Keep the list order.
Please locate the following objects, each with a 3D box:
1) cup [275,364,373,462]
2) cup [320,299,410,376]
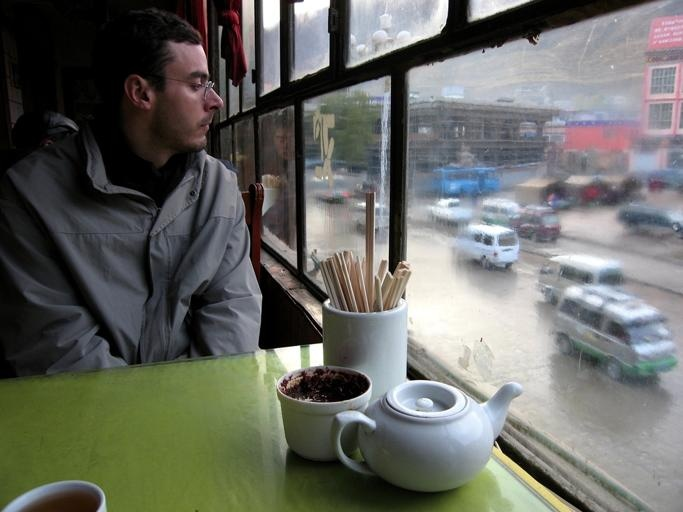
[{"bbox_3d":[-0.030,0.263,0.830,0.146,0.115,0.143,0,3,0],"label":"cup"},{"bbox_3d":[0.025,0.171,0.974,0.133,0.162,0.125,4,16,-1],"label":"cup"}]
